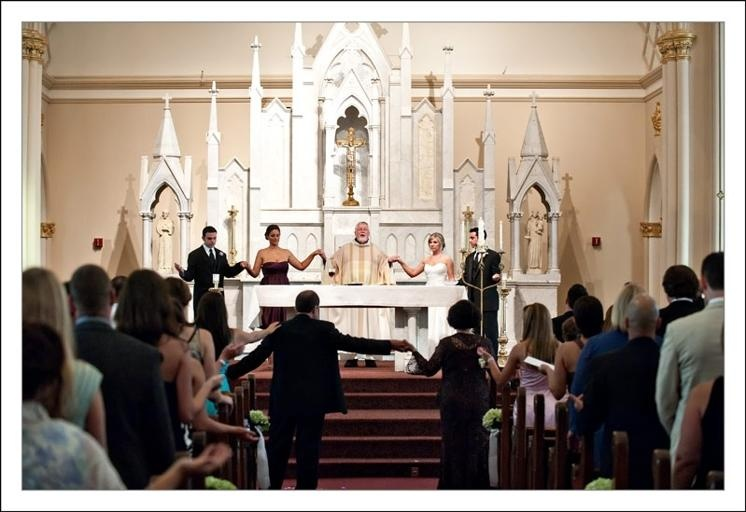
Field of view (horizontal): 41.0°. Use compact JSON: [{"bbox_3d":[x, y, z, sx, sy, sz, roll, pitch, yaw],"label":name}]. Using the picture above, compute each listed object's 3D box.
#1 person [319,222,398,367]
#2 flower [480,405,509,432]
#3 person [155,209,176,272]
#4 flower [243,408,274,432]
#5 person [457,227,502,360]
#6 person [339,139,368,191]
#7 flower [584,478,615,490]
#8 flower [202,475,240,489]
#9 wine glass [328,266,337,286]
[{"bbox_3d":[-0.211,0.493,13.448,0.935,2.028,0.594,0,19,0],"label":"person"},{"bbox_3d":[1.165,1.582,9.627,0.230,0.232,0.237,3,-21,-7],"label":"flower"},{"bbox_3d":[-3.494,-0.217,16.733,0.266,1.065,1.464,0,-2,-11],"label":"person"},{"bbox_3d":[-1.104,1.558,9.503,0.218,0.166,0.251,17,-11,7],"label":"flower"},{"bbox_3d":[1.552,0.577,14.266,0.651,1.939,0.532,4,20,27],"label":"person"},{"bbox_3d":[-0.302,-1.443,15.617,0.447,0.821,1.031,0,-2,0],"label":"person"},{"bbox_3d":[1.819,1.826,7.988,0.150,0.089,0.164,-2,-7,-26],"label":"flower"},{"bbox_3d":[-1.204,1.768,7.758,0.190,0.061,0.199,16,-5,7],"label":"flower"},{"bbox_3d":[-0.569,0.254,13.289,0.133,0.213,0.073,-1,-2,39],"label":"wine glass"}]
